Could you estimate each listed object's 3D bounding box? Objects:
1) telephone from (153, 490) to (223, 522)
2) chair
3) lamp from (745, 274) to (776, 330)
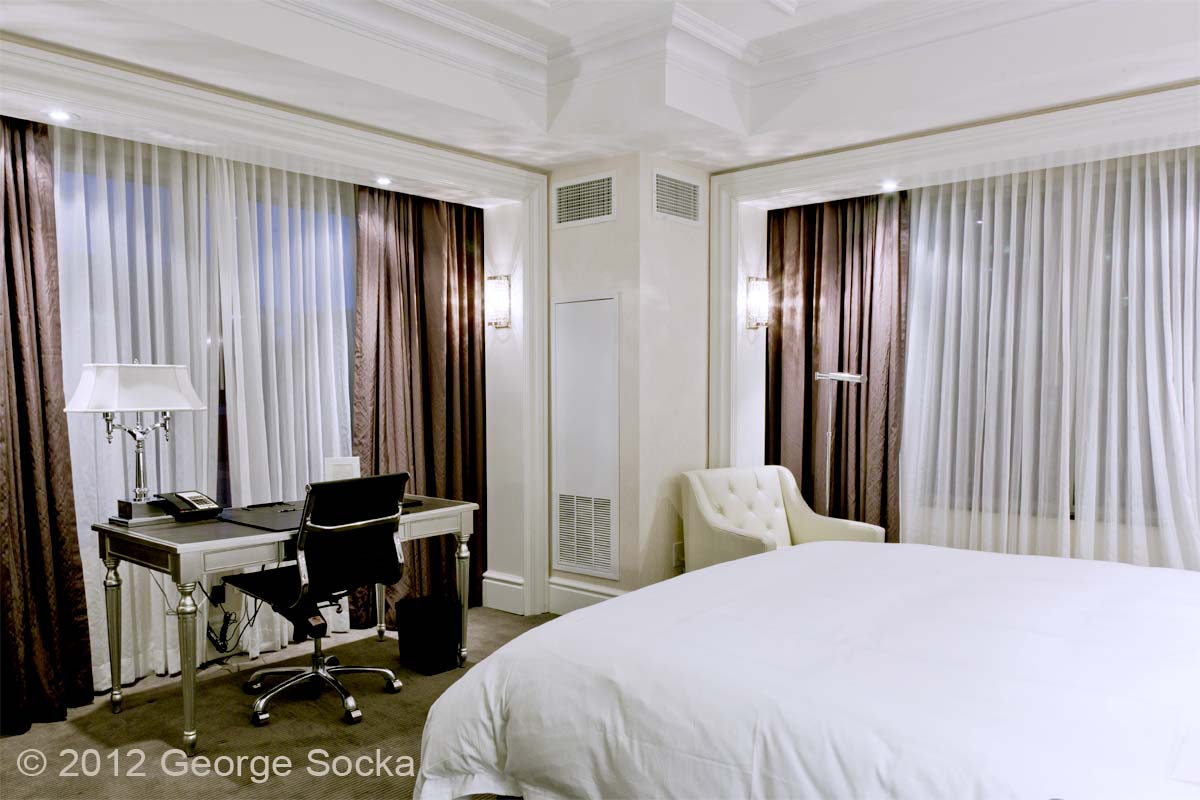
[{"bbox_3d":[-2.283,0.561,4.765,0.228,0.088,0.204,17,8,26],"label":"telephone"},{"bbox_3d":[-1.542,1.024,4.764,0.876,1.227,0.896,1,0,-27],"label":"chair"},{"bbox_3d":[1.147,-0.711,6.215,0.089,0.343,0.345,3,1,33],"label":"lamp"}]
